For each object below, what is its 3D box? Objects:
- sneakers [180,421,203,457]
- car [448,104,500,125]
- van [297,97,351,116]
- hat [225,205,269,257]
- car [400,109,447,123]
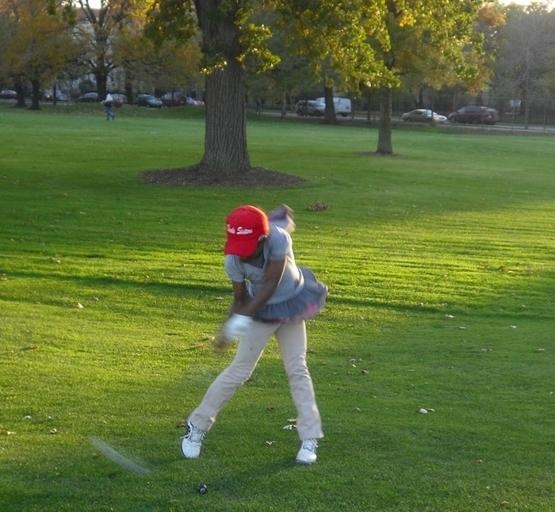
[{"bbox_3d":[-1.118,2.420,15.665,0.205,0.539,0.226,-1,5,-12],"label":"sneakers"},{"bbox_3d":[11.832,-8.291,71.388,2.392,0.910,1.268,11,15,31],"label":"car"},{"bbox_3d":[3.357,-10.139,79.234,3.463,1.279,1.814,-1,7,-30],"label":"van"},{"bbox_3d":[-0.388,-0.288,15.308,0.555,0.658,0.249,0,7,-1],"label":"hat"},{"bbox_3d":[8.844,-8.210,73.105,2.888,0.981,1.321,4,14,19],"label":"car"}]
